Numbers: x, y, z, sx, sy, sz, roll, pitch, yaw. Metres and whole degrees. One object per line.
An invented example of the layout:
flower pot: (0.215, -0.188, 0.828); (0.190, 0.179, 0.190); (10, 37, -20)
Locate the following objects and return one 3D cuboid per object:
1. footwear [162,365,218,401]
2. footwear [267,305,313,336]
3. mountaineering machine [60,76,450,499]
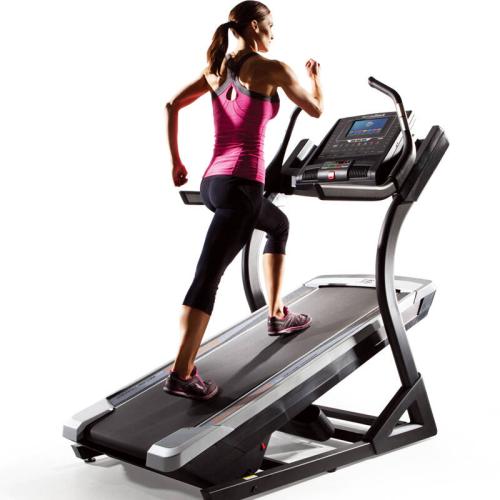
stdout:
footwear: (-0.247, 0.565, 2.247); (0.248, 0.096, 0.106); (8, 4, -7)
footwear: (0.196, 0.355, 2.603); (0.273, 0.109, 0.095); (-5, 2, -16)
mountaineering machine: (-0.041, 0.227, 3.294); (2.460, 1.960, 1.407); (-2, 5, -41)
